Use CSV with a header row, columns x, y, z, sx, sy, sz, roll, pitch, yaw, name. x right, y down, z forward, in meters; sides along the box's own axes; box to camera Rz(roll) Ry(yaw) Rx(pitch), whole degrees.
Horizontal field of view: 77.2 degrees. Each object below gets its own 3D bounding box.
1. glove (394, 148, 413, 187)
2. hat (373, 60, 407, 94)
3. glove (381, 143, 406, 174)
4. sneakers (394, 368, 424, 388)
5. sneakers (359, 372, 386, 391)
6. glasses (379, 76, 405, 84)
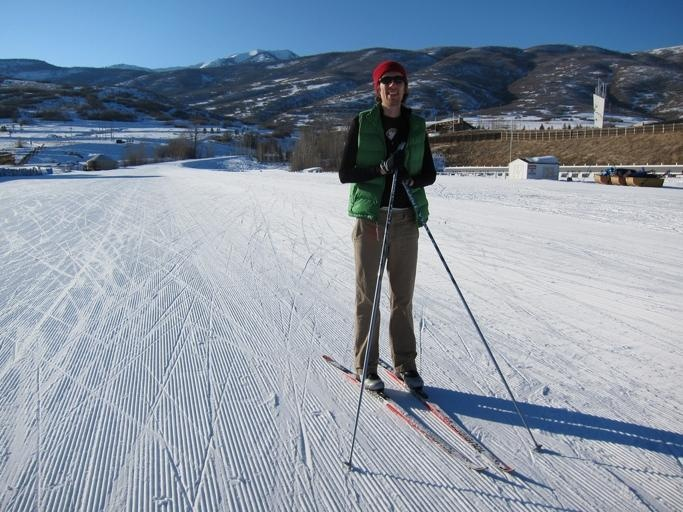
x,y,z,sx,sy,sz,roll,pitch,yaw,name
0.507,-0.740,3.533,0.092,0.270,0.203,-36,40,-15,glove
0.408,-1.592,3.675,0.291,0.197,0.277,6,11,14,hat
0.428,-0.773,3.459,0.084,0.184,0.253,36,-37,-26,glove
0.586,1.094,3.908,0.120,0.133,0.330,-4,8,-41,sneakers
0.262,1.106,3.838,0.157,0.133,0.325,-1,9,-16,sneakers
0.422,-1.463,3.570,0.244,0.085,0.118,1,16,3,glasses
